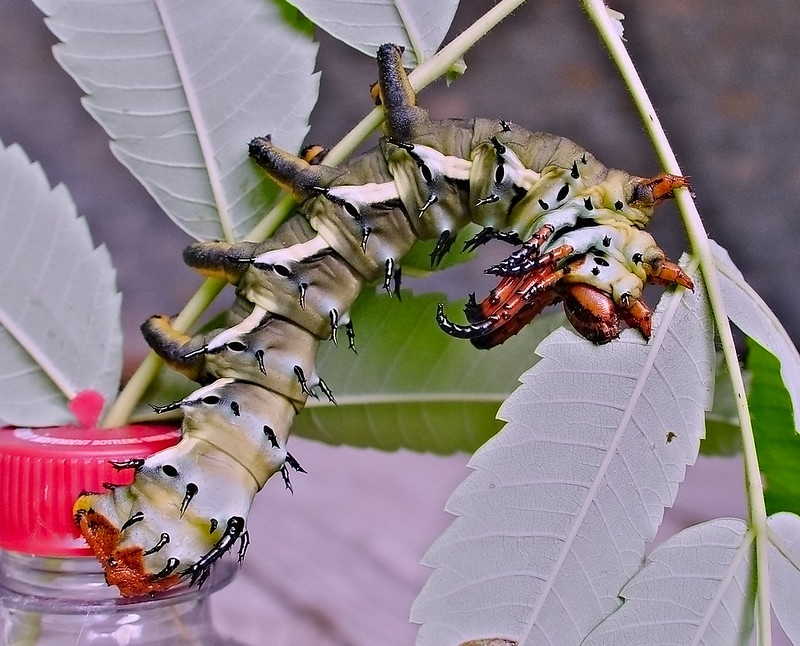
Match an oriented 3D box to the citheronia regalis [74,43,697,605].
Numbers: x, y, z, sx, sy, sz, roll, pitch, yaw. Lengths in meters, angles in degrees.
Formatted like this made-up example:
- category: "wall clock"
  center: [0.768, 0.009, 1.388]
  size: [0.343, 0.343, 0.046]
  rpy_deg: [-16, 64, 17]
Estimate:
- category: "citheronia regalis"
  center: [-0.038, -0.016, 1.219]
  size: [0.745, 0.272, 0.488]
  rpy_deg: [-37, 62, 0]
